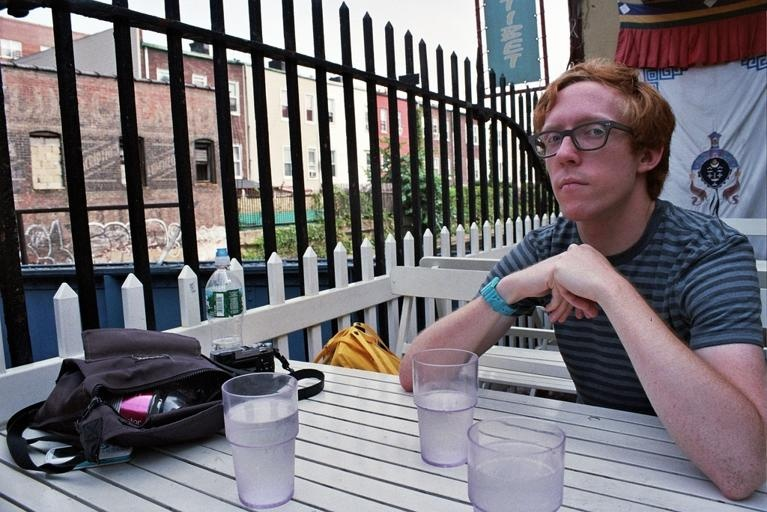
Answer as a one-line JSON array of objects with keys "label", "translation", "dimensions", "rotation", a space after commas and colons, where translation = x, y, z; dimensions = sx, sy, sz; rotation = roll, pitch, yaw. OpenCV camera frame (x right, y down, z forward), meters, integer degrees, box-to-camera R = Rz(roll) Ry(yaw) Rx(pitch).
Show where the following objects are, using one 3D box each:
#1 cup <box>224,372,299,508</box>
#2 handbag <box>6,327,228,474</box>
[{"label": "cup", "translation": [-0.349, 0.531, 1.830], "dimensions": [0.206, 0.361, 0.151], "rotation": [-6, 13, -13]}, {"label": "handbag", "translation": [-0.851, 0.454, 2.047], "dimensions": [0.589, 0.241, 0.456], "rotation": [2, 10, -31]}]
